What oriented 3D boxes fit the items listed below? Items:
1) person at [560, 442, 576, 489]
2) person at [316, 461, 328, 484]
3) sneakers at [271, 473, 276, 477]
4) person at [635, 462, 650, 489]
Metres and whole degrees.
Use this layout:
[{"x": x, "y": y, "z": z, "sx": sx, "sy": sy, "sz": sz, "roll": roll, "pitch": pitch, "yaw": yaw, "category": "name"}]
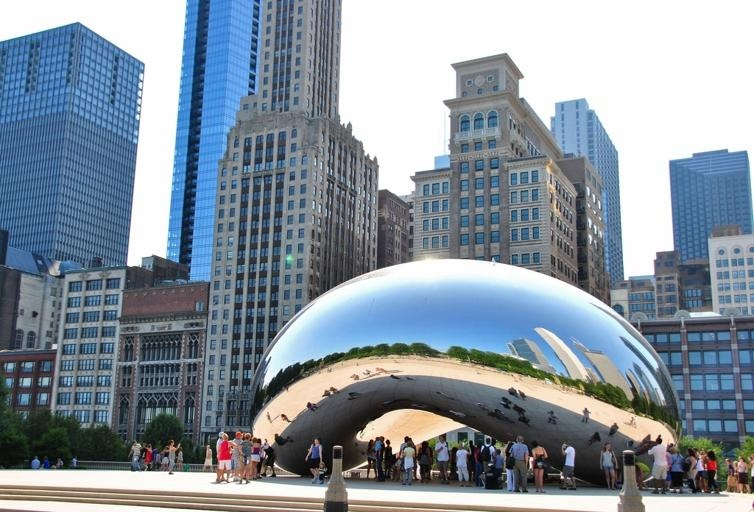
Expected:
[{"x": 7.224, "y": 7.885, "z": 26.544, "sx": 0.547, "sy": 1.571, "sz": 0.481, "roll": 4, "pitch": -1, "yaw": 15, "category": "person"}, {"x": -2.215, "y": 8.653, "z": 28.142, "sx": 0.474, "sy": 0.985, "sz": 0.565, "roll": -7, "pitch": -53, "yaw": 7, "category": "person"}, {"x": -4.417, "y": 9.380, "z": 30.130, "sx": 0.216, "sy": 0.152, "sz": 0.220, "roll": -12, "pitch": -20, "yaw": 33, "category": "sneakers"}, {"x": 10.290, "y": 8.510, "z": 27.317, "sx": 0.329, "sy": 0.916, "sz": 1.163, "roll": 3, "pitch": -1, "yaw": 31, "category": "person"}]
